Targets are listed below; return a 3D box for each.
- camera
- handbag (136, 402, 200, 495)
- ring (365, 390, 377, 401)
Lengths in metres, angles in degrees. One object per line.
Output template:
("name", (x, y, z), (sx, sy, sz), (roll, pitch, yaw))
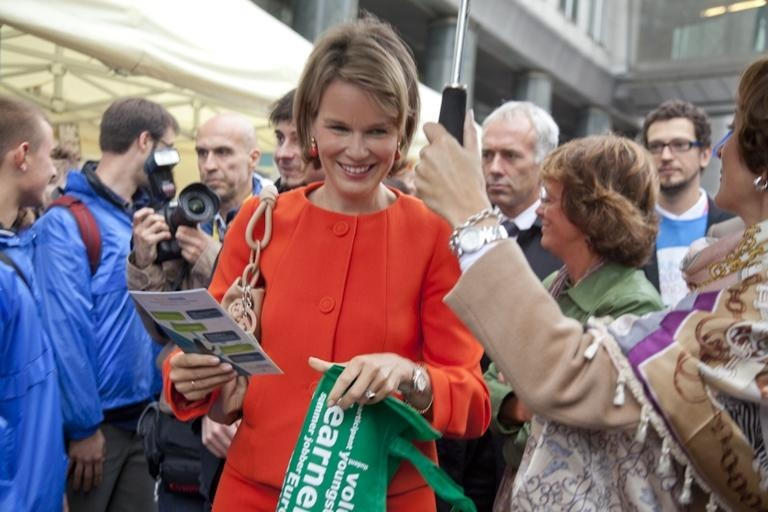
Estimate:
("camera", (-1.360, -0.382, 4.806), (0.405, 0.627, 0.288), (-18, 8, 34))
("handbag", (-1.233, 1.149, 4.410), (0.403, 0.596, 0.248), (6, -8, 1))
("ring", (-0.061, 0.611, 3.238), (0.036, 0.049, 0.043), (7, 37, -6))
